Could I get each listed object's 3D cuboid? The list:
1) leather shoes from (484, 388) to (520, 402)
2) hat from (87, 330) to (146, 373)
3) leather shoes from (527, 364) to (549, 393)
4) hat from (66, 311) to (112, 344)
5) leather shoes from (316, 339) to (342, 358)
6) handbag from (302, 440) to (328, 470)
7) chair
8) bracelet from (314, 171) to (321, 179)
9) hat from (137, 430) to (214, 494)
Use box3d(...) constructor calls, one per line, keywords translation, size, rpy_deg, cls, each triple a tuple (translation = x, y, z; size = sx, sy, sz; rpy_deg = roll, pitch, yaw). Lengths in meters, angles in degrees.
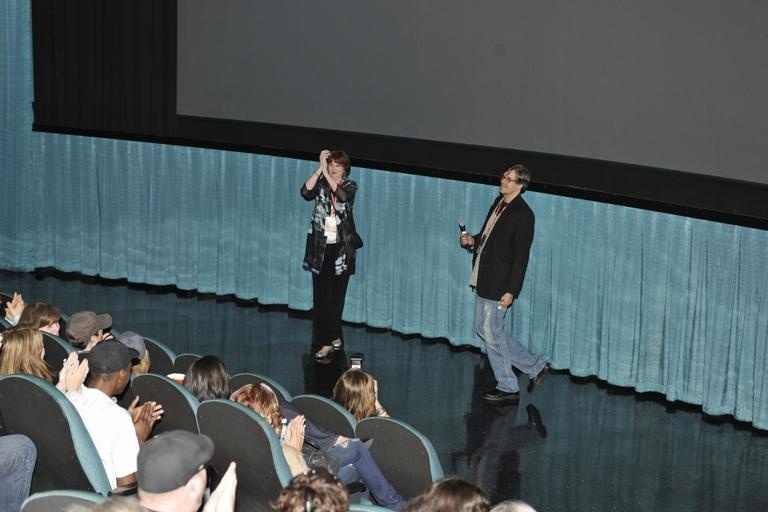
box3d(translation=(0.989, 1.134, 6.358), size=(0.245, 0.124, 0.120), rpy_deg=(7, 3, -4), cls="leather shoes")
box3d(translation=(-1.609, 0.621, 4.654), size=(0.200, 0.294, 0.123), rpy_deg=(30, -51, 32), cls="hat")
box3d(translation=(1.343, 1.075, 6.701), size=(0.083, 0.219, 0.065), rpy_deg=(1, 34, -50), cls="leather shoes")
box3d(translation=(-2.061, 0.468, 5.339), size=(0.197, 0.271, 0.160), rpy_deg=(32, -39, 42), cls="hat")
box3d(translation=(-0.519, 0.883, 7.252), size=(0.098, 0.153, 0.341), rpy_deg=(27, 20, 26), cls="leather shoes")
box3d(translation=(-0.403, 1.158, 4.425), size=(0.158, 0.230, 0.222), rpy_deg=(1, -15, -4), cls="handbag")
box3d(translation=(-0.459, 1.025, 4.690), size=(1.643, 0.834, 0.568), rpy_deg=(8, -25, 2), cls="chair")
box3d(translation=(-0.625, -0.765, 7.171), size=(0.046, 0.038, 0.069), rpy_deg=(22, 12, 14), cls="bracelet")
box3d(translation=(-1.025, 0.979, 3.717), size=(0.235, 0.320, 0.194), rpy_deg=(31, -38, 40), cls="hat")
